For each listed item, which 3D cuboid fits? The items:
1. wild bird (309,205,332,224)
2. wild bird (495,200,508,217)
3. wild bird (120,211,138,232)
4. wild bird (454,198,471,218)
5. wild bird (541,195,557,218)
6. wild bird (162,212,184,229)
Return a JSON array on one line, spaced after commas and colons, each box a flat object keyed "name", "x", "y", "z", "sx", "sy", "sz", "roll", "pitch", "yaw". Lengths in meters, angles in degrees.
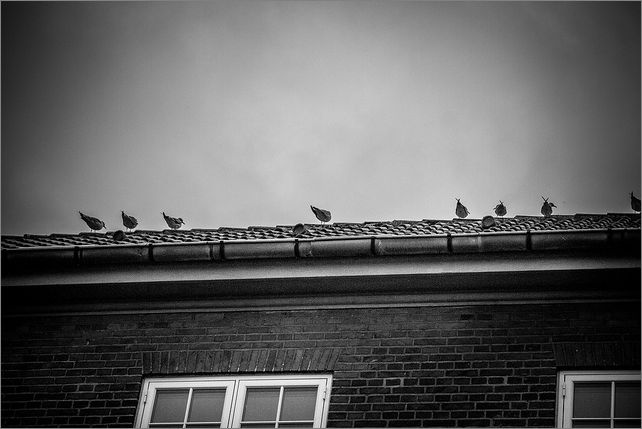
[{"name": "wild bird", "x": 0.001, "y": -0.002, "z": 14.681, "sx": 0.196, "sy": 0.118, "sz": 0.132, "roll": 46, "pitch": -10, "yaw": -22}, {"name": "wild bird", "x": 2.244, "y": -0.063, "z": 15.200, "sx": 0.120, "sy": 0.230, "sz": 0.179, "roll": 0, "pitch": -8, "yaw": 16}, {"name": "wild bird", "x": -2.354, "y": 0.083, "z": 14.840, "sx": 0.119, "sy": 0.320, "sz": 0.195, "roll": -1, "pitch": -44, "yaw": -4}, {"name": "wild bird", "x": 1.670, "y": -0.046, "z": 14.502, "sx": 0.138, "sy": 0.224, "sz": 0.148, "roll": -14, "pitch": -12, "yaw": 23}, {"name": "wild bird", "x": 2.768, "y": -0.064, "z": 14.878, "sx": 0.125, "sy": 0.250, "sz": 0.395, "roll": -4, "pitch": -23, "yaw": 9}, {"name": "wild bird", "x": -2.292, "y": 0.149, "z": 18.759, "sx": 0.277, "sy": 0.297, "sz": 0.266, "roll": 2, "pitch": -36, "yaw": 9}]
